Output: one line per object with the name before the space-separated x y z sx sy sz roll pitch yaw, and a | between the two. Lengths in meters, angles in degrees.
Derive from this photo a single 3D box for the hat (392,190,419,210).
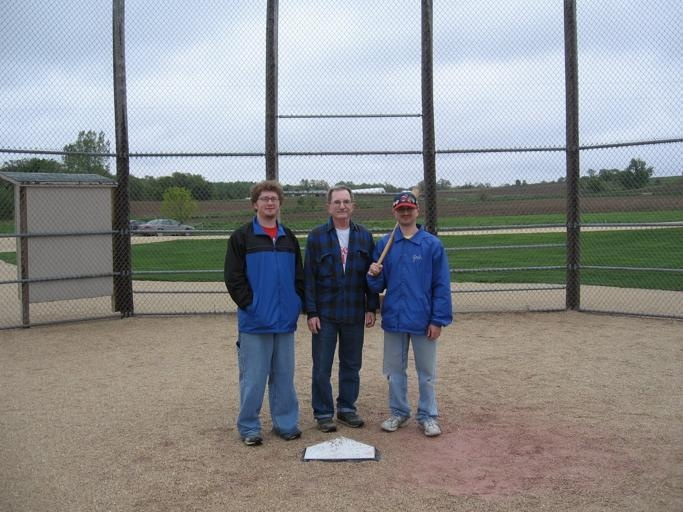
hat | 0.572 -0.488 5.603 0.140 0.109 0.200 -4 -4 9

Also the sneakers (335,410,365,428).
sneakers | 0.083 1.465 5.728 0.263 0.122 0.104 -1 -1 41

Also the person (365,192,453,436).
person | 0.597 0.487 5.599 0.731 2.080 0.541 1 9 10

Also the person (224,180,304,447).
person | -0.636 0.473 5.421 0.674 2.188 0.520 -2 9 -10

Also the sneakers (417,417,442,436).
sneakers | 0.781 1.483 5.537 0.193 0.131 0.200 0 9 6

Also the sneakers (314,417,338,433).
sneakers | -0.119 1.499 5.612 0.079 0.095 0.213 4 -14 -22

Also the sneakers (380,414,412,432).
sneakers | 0.491 1.495 5.690 0.284 0.130 0.104 4 -5 -41
